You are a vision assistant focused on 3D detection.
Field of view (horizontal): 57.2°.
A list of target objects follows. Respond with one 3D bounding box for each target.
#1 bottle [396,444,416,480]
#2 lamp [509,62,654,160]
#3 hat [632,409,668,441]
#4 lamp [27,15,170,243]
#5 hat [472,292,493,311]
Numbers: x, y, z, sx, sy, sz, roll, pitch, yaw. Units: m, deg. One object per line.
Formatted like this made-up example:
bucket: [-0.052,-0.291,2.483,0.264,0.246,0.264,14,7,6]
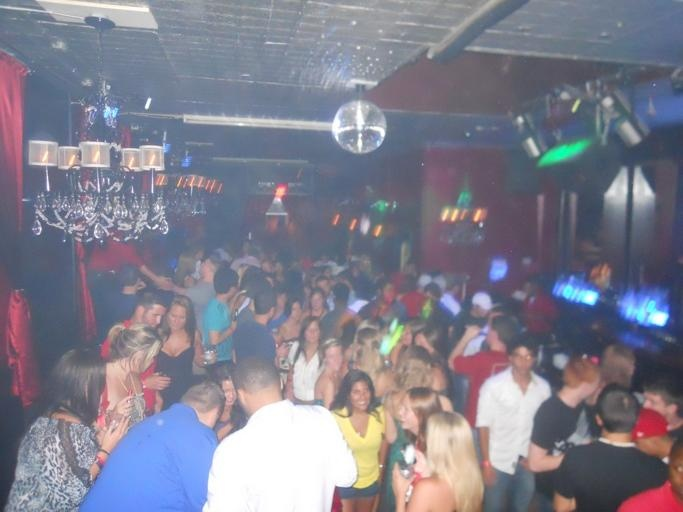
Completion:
bottle: [0.462,1.436,4.375,0.122,0.229,0.070,0,2,4]
lamp: [2.405,-1.403,6.310,1.124,0.717,0.427,-29,0,43]
hat: [2.282,1.245,4.625,0.293,0.082,0.210,-1,11,17]
lamp: [-2.440,-1.228,6.277,1.350,2.039,1.340,0,9,-20]
hat: [1.424,0.452,6.468,0.244,0.130,0.192,12,14,39]
